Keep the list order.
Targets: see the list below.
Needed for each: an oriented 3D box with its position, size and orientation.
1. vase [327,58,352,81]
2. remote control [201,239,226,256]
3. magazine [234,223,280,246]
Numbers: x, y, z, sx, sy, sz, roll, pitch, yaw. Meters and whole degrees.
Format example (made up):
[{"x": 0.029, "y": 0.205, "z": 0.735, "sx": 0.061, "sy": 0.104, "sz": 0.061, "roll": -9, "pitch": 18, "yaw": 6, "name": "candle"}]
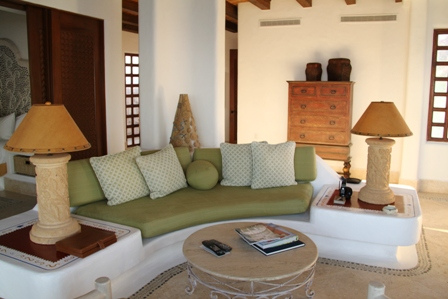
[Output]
[{"x": 2.211, "y": -1.522, "z": 6.317, "sx": 0.427, "sy": 0.401, "sz": 0.433, "roll": 5, "pitch": 10, "yaw": 32, "name": "vase"}, {"x": -0.097, "y": 0.882, "z": 2.952, "sx": 0.079, "sy": 0.031, "sz": 0.218, "roll": -3, "pitch": 5, "yaw": -31, "name": "remote control"}, {"x": 0.314, "y": 0.806, "z": 3.102, "sx": 0.346, "sy": 0.036, "sz": 0.396, "roll": 0, "pitch": 18, "yaw": 10, "name": "magazine"}]
